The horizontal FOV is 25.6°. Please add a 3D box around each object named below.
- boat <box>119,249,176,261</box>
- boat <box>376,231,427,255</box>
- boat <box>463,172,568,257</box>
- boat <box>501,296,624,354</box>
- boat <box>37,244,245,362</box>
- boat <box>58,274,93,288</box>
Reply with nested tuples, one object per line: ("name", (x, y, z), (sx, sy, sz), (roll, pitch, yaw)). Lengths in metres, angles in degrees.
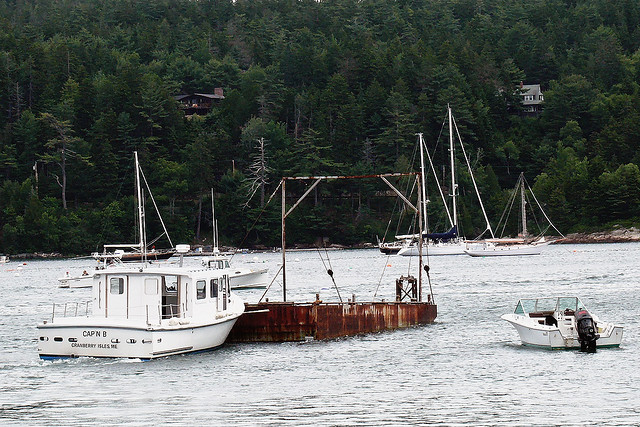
("boat", (-28.929, 7.271, 237.414), (11.978, 1.955, 2.444), (-3, 1, 0))
("boat", (14.364, 6.179, 265.864), (3.093, 4.278, 13.974), (-1, -1, 43))
("boat", (38.387, 1.044, 275.881), (8.299, 15.233, 10.282), (-11, 7, -33))
("boat", (32.820, 15.366, 192.887), (11.821, 6.422, 18.480), (-1, 4, -12))
("boat", (-22.248, 13.611, 195.030), (19.060, 11.420, 31.422), (0, 3, 28))
("boat", (-38.472, 11.004, 222.524), (5.531, 1.680, 2.875), (-4, 1, 11))
